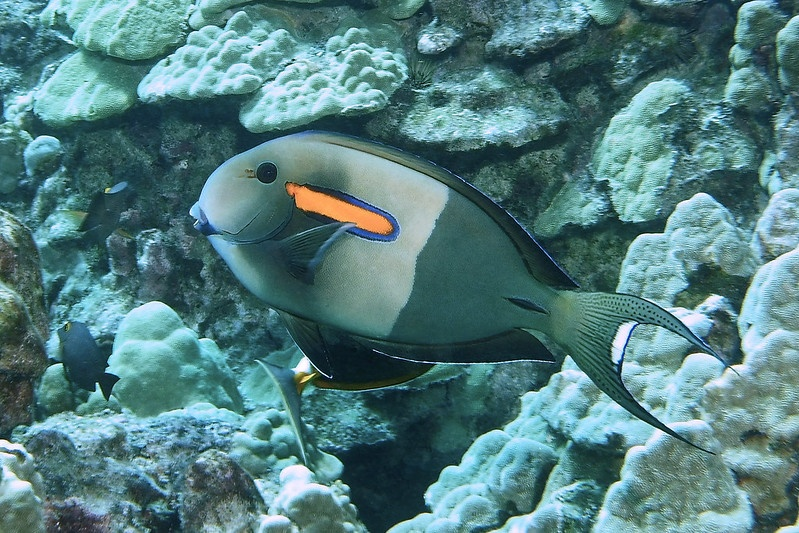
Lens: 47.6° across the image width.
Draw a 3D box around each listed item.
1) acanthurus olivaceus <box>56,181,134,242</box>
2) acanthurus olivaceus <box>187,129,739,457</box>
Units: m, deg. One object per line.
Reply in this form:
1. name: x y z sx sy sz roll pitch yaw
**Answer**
1. acanthurus olivaceus: -2.242 -0.367 6.780 0.547 0.486 0.290 -26 95 0
2. acanthurus olivaceus: 0.034 0.008 4.650 2.140 0.191 1.066 34 85 2
